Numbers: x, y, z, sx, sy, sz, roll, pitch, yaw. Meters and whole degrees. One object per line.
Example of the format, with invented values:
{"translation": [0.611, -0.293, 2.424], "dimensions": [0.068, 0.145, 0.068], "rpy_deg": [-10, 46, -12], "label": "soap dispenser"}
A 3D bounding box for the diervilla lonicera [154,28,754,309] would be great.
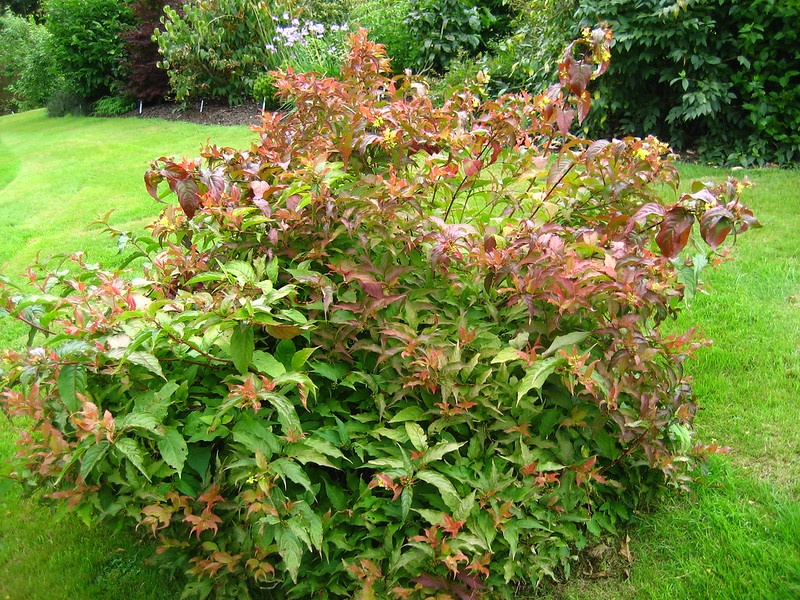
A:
{"translation": [0.118, -0.461, 3.498], "dimensions": [2.799, 1.430, 1.823], "rpy_deg": [-3, 25, -12], "label": "diervilla lonicera"}
